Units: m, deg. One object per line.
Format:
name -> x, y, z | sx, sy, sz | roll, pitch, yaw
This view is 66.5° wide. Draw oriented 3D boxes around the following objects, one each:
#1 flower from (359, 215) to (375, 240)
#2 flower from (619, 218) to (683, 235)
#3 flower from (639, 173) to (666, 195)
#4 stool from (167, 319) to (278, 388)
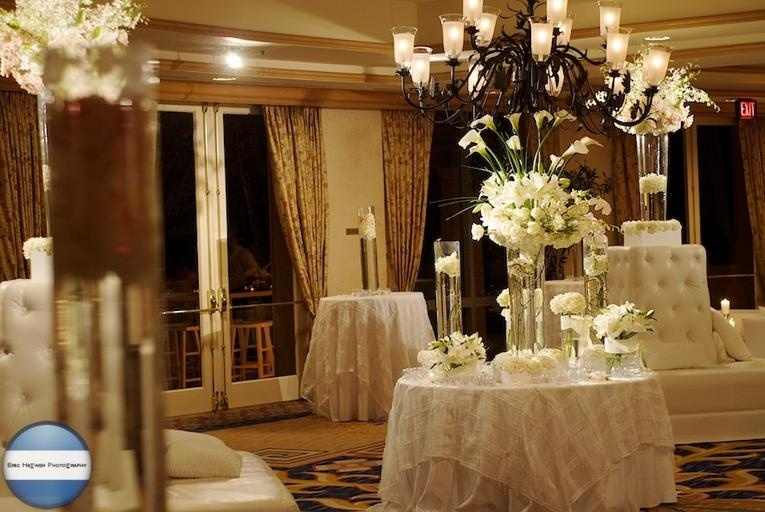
flower -> -0.191, -0.348, 6.956 | 0.168, 0.316, 0.104 | -2, -3, -15
flower -> 2.397, -0.257, 5.208 | 0.303, 0.102, 0.247 | -2, -2, 13
flower -> 2.325, -0.614, 4.991 | 0.148, 0.101, 0.206 | -1, -3, 2
stool -> -2.030, 1.192, 7.125 | 0.864, 0.572, 0.285 | 2, -8, -32
